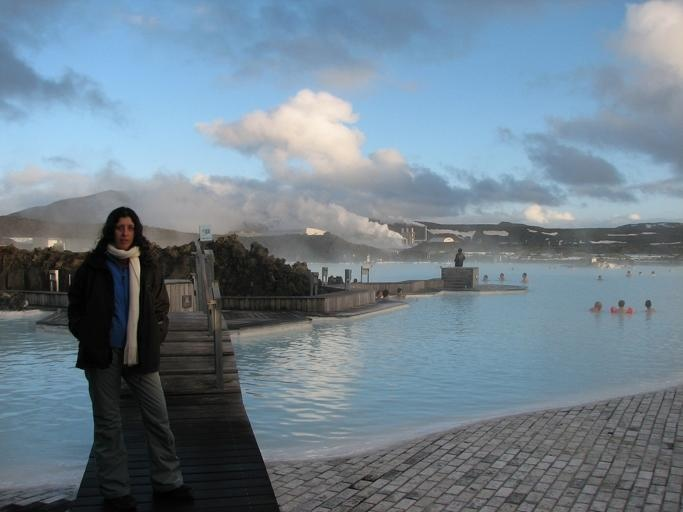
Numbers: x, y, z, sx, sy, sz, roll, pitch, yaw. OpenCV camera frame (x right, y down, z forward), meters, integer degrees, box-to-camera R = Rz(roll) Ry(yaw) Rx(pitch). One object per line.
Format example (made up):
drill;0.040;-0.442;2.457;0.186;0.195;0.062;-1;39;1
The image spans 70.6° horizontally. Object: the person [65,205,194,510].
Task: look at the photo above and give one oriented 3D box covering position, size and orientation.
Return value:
person;-2.106;0.994;4.697;1.001;2.938;0.335;0;-1;-30
